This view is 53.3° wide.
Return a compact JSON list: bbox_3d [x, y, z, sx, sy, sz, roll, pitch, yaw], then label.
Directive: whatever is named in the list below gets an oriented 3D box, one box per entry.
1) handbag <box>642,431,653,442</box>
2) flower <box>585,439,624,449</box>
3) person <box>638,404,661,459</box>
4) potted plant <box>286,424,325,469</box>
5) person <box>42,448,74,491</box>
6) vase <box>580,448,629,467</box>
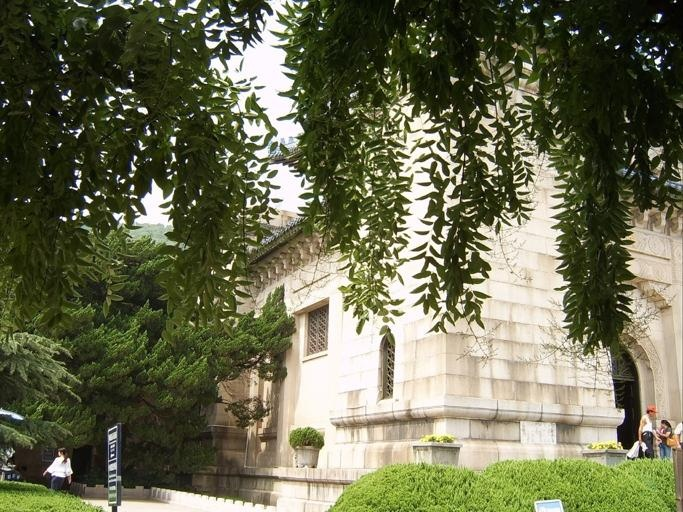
[{"bbox_3d":[4.802,2.828,10.699,0.078,0.133,0.125,22,3,6],"label":"handbag"},{"bbox_3d":[3.794,2.734,9.792,0.426,0.168,0.448,-5,-24,18],"label":"flower"},{"bbox_3d":[4.855,2.884,10.834,0.371,1.030,0.241,-5,11,-37],"label":"person"},{"bbox_3d":[-0.668,3.584,12.763,0.624,0.724,0.546,4,-21,-4],"label":"potted plant"},{"bbox_3d":[-5.443,4.159,13.035,0.468,1.106,0.242,14,17,-16],"label":"person"},{"bbox_3d":[3.715,2.813,9.583,0.567,0.292,0.616,-6,-24,20],"label":"vase"}]
